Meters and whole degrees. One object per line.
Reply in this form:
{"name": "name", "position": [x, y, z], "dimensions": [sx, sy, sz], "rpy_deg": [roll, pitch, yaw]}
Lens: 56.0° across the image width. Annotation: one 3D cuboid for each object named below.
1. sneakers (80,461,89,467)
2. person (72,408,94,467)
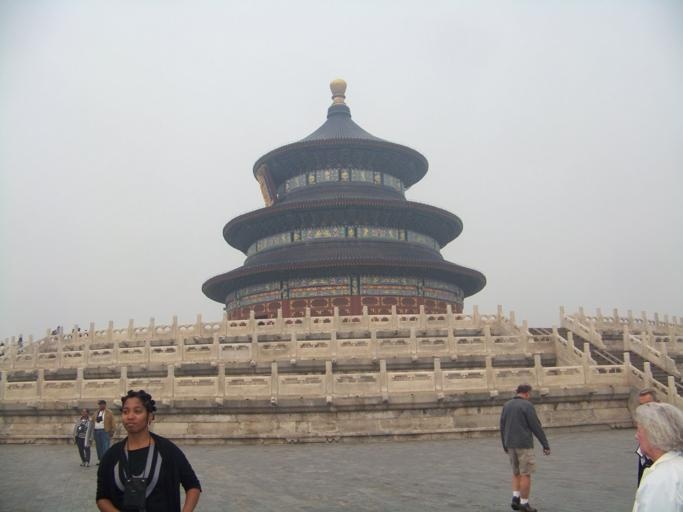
{"name": "sneakers", "position": [-5.998, 4.846, 15.053], "dimensions": [0.072, 0.094, 0.212], "rpy_deg": [4, -3, -37]}
{"name": "person", "position": [-6.240, 4.373, 15.650], "dimensions": [0.437, 1.589, 1.265], "rpy_deg": [6, -28, -20]}
